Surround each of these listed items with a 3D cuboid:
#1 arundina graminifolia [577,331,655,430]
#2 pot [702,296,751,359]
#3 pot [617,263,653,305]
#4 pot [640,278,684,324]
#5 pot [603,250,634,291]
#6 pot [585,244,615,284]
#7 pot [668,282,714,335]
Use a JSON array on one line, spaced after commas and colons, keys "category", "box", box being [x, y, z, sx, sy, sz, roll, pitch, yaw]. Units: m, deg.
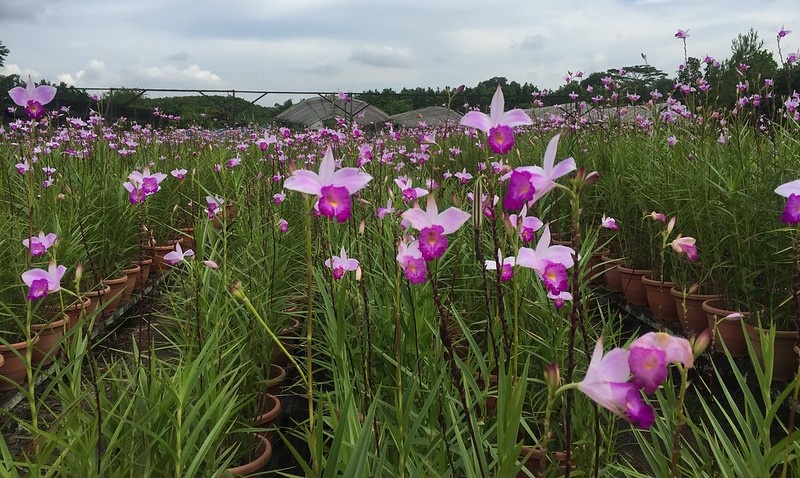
[{"category": "arundina graminifolia", "box": [1.074, 0.723, 2.773, 0.407, 0.197, 0.446, 36, 46, -9]}, {"category": "pot", "box": [3.113, 0.819, 5.031, 0.550, 0.473, 0.546, -7, 10, 1]}, {"category": "pot", "box": [2.515, 0.500, 5.912, 0.407, 0.354, 0.434, -1, 12, 0]}, {"category": "pot", "box": [2.774, 0.611, 5.625, 0.441, 0.407, 0.480, -5, 2, 0]}, {"category": "pot", "box": [2.472, 0.351, 6.110, 0.407, 0.493, 0.435, 0, 4, 0]}, {"category": "pot", "box": [2.157, 0.260, 5.835, 0.377, 0.318, 0.403, -2, 17, 1]}, {"category": "pot", "box": [2.744, 0.640, 5.084, 0.451, 0.404, 0.472, -5, 5, 0]}]
